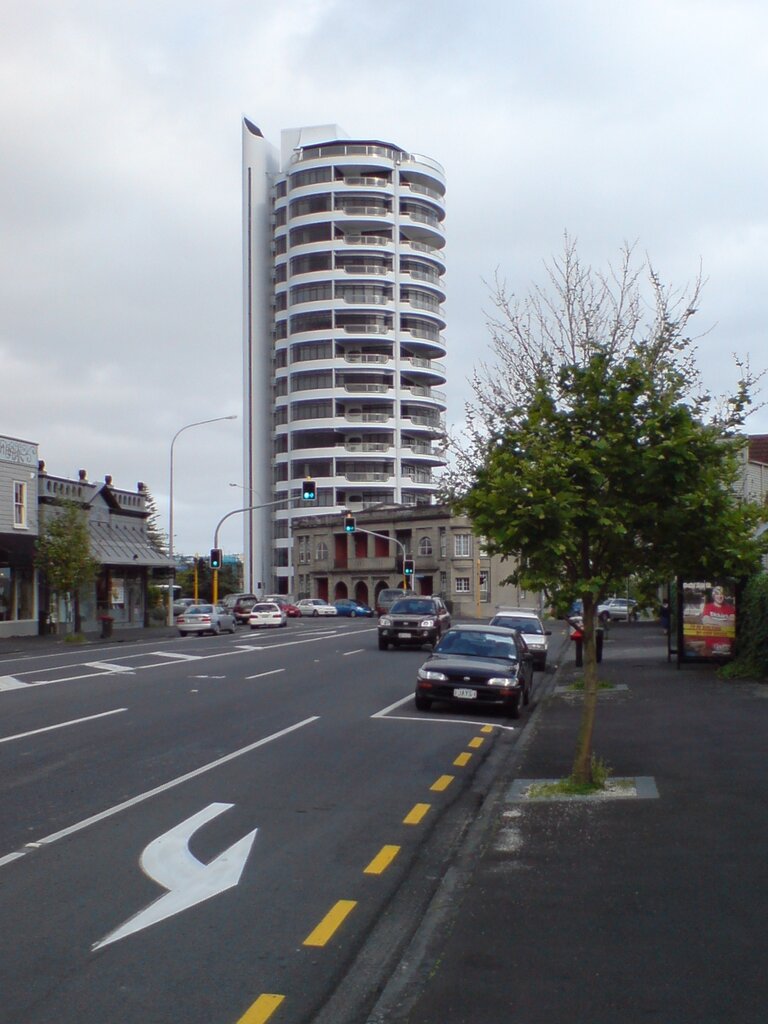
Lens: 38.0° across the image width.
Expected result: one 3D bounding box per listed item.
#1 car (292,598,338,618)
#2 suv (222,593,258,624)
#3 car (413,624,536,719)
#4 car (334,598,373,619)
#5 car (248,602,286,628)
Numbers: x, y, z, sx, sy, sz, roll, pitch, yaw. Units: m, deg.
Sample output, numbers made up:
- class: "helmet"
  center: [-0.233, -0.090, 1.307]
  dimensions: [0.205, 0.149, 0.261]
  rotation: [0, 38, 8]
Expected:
- class: "car"
  center: [-4.910, 6.890, 80.187]
  dimensions: [1.386, 0.978, 2.943]
  rotation: [2, -7, -31]
- class: "suv"
  center: [-8.326, 5.775, 65.170]
  dimensions: [1.743, 1.367, 4.061]
  rotation: [-1, 1, -7]
- class: "car"
  center: [1.525, 2.625, 18.213]
  dimensions: [1.462, 1.135, 3.133]
  rotation: [-1, -8, 11]
- class: "car"
  center: [-2.496, 7.001, 80.643]
  dimensions: [2.209, 0.989, 1.165]
  rotation: [-4, -4, 36]
- class: "car"
  center: [-5.926, 5.216, 56.019]
  dimensions: [1.553, 1.114, 1.907]
  rotation: [0, -4, 3]
